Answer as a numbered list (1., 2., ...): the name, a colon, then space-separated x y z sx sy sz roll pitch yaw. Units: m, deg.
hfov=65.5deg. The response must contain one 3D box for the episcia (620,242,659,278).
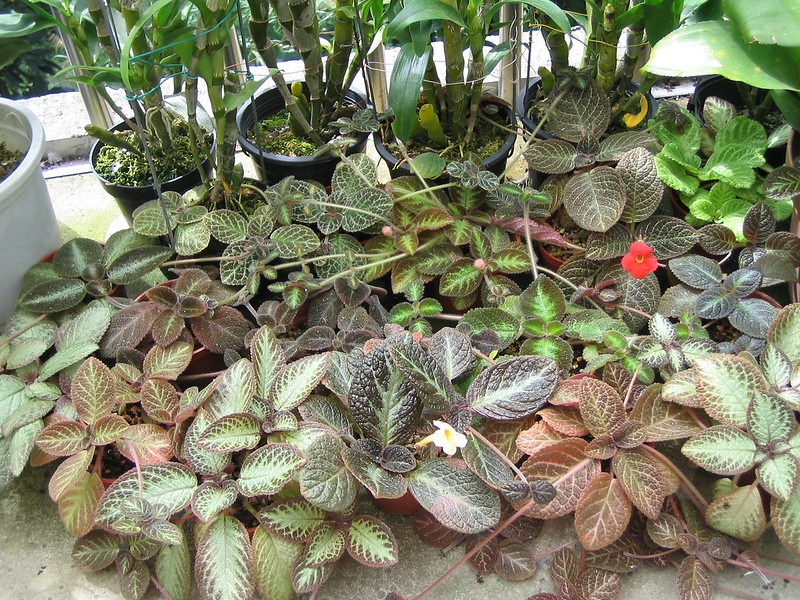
1. episcia: 0.570 -0.081 1.466 0.090 0.039 0.119 -11 68 51

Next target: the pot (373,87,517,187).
1. pot: 0.174 -0.453 1.880 0.467 0.161 0.304 -18 45 -15

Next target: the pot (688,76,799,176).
1. pot: 1.084 -0.545 1.956 0.288 0.123 0.352 -17 59 9

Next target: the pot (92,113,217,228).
1. pot: -0.797 -0.388 2.028 0.278 0.227 0.305 0 53 0
